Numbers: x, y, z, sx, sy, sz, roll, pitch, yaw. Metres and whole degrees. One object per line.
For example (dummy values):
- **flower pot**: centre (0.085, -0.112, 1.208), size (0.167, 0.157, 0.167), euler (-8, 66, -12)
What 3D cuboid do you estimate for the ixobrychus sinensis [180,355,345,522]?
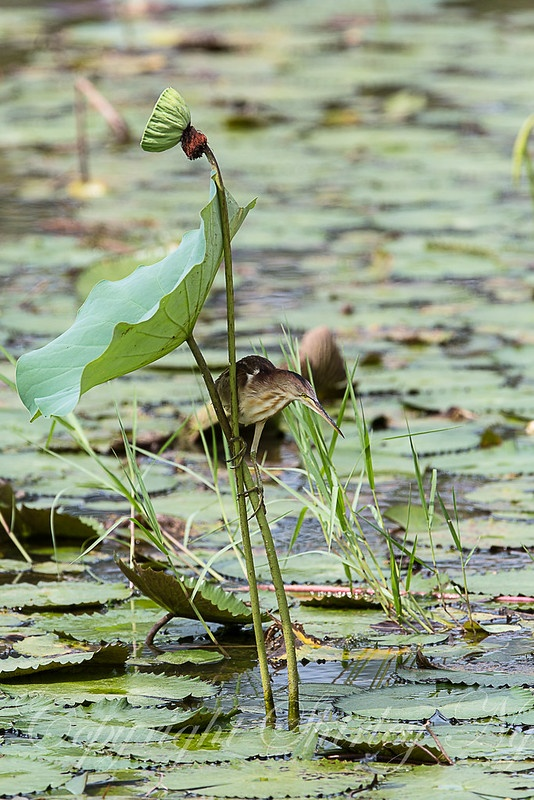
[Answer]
- **ixobrychus sinensis**: centre (-0.006, 0.032, 1.317), size (0.155, 0.200, 0.220), euler (11, 30, 24)
